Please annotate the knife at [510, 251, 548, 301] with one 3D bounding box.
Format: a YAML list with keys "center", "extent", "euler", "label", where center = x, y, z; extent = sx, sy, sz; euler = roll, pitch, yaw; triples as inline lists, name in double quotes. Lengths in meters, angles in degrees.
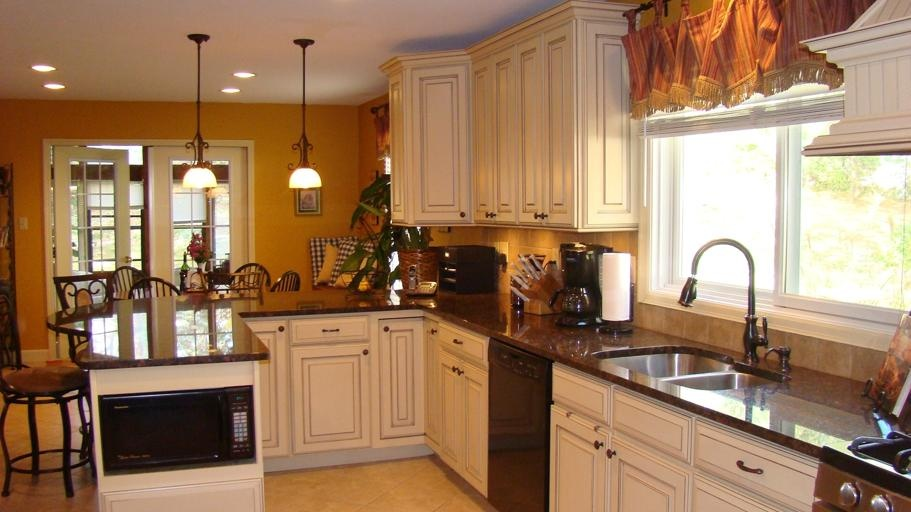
- center: [0.586, 0.159, 5.117]
  extent: [0.262, 0.364, 0.128]
  euler: [17, 5, 42]
  label: "knife"

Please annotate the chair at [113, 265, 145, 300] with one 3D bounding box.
- center: [-3.657, 0.292, 7.364]
  extent: [0.426, 0.486, 0.401]
  euler: [2, -3, -23]
  label: "chair"

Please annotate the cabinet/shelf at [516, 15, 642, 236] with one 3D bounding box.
- center: [0.945, -0.950, 4.741]
  extent: [0.677, 1.522, 0.364]
  euler: [-3, 7, 9]
  label: "cabinet/shelf"

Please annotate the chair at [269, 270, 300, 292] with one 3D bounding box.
- center: [-1.985, 0.284, 7.756]
  extent: [0.277, 0.248, 0.841]
  euler: [-5, 6, -11]
  label: "chair"

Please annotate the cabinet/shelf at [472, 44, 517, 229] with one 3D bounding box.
- center: [0.342, -0.973, 5.410]
  extent: [0.183, 1.390, 0.604]
  euler: [-7, 7, -22]
  label: "cabinet/shelf"

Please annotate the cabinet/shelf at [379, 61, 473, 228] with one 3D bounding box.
- center: [-0.184, -1.011, 5.777]
  extent: [0.669, 1.466, 0.252]
  euler: [-1, 7, 24]
  label: "cabinet/shelf"

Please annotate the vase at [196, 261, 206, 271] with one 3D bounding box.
- center: [-3.219, 0.118, 8.369]
  extent: [0.149, 0.120, 0.139]
  euler: [1, -3, -39]
  label: "vase"

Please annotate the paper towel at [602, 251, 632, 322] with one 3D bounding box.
- center: [1.116, 0.213, 4.517]
  extent: [0.236, 0.486, 0.192]
  euler: [-4, 6, 3]
  label: "paper towel"

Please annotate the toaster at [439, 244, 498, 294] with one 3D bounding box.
- center: [0.097, 0.085, 6.033]
  extent: [0.480, 0.381, 0.472]
  euler: [-3, 7, -24]
  label: "toaster"

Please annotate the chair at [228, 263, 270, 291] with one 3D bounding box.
- center: [-2.501, 0.259, 8.083]
  extent: [0.504, 0.594, 0.465]
  euler: [1, -5, -15]
  label: "chair"

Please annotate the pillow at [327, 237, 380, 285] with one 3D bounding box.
- center: [-0.980, -0.034, 6.978]
  extent: [0.204, 0.613, 0.672]
  euler: [6, -11, -42]
  label: "pillow"

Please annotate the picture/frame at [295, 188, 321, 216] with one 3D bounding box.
- center: [-1.957, -0.733, 8.679]
  extent: [0.421, 0.418, 0.034]
  euler: [0, 4, -20]
  label: "picture/frame"

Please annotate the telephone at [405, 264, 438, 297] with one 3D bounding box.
- center: [-0.291, 0.220, 5.839]
  extent: [0.293, 0.248, 0.192]
  euler: [2, 4, -16]
  label: "telephone"

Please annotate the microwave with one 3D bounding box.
- center: [-1.737, 0.895, 4.116]
  extent: [0.850, 0.477, 0.535]
  euler: [-1, -2, -19]
  label: "microwave"
